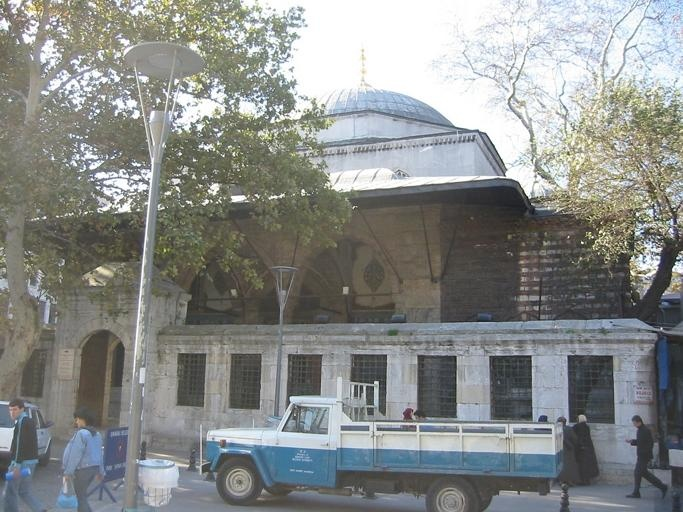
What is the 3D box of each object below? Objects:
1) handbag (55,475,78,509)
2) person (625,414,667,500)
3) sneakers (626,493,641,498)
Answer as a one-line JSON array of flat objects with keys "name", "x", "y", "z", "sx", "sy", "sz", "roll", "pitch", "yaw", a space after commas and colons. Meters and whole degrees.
[{"name": "handbag", "x": -5.836, "y": 5.050, "z": 17.578, "sx": 0.411, "sy": 0.684, "sz": 0.575, "roll": 8, "pitch": -11, "yaw": -33}, {"name": "person", "x": 8.270, "y": 5.489, "z": 22.526, "sx": 0.973, "sy": 2.163, "sz": 1.120, "roll": 1, "pitch": -9, "yaw": 4}, {"name": "sneakers", "x": 7.825, "y": 6.461, "z": 22.138, "sx": 0.390, "sy": 0.171, "sz": 0.136, "roll": 2, "pitch": -15, "yaw": 17}]
